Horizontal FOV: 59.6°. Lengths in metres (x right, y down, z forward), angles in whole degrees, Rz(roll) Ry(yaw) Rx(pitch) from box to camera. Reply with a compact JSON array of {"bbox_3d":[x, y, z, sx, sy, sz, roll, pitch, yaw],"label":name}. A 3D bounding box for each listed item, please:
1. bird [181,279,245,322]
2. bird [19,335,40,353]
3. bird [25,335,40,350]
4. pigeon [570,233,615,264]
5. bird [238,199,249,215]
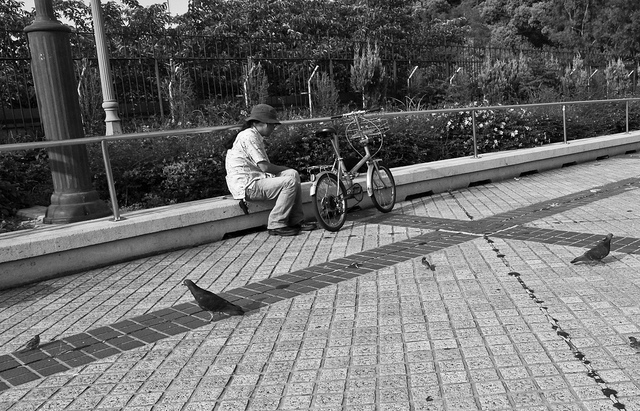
[{"bbox_3d":[-1.156,1.027,6.009,0.835,0.543,0.278,5,2,-23],"label":"bird"},{"bbox_3d":[-2.962,1.412,5.735,0.200,0.092,0.064,-18,28,-20],"label":"bird"},{"bbox_3d":[-2.977,1.392,5.781,0.142,0.111,0.221,-10,16,-26],"label":"bird"},{"bbox_3d":[3.285,0.556,6.727,0.507,0.347,0.184,-14,16,10],"label":"pigeon"},{"bbox_3d":[-1.162,0.017,8.604,0.142,0.209,0.068,-4,20,-24],"label":"bird"}]
